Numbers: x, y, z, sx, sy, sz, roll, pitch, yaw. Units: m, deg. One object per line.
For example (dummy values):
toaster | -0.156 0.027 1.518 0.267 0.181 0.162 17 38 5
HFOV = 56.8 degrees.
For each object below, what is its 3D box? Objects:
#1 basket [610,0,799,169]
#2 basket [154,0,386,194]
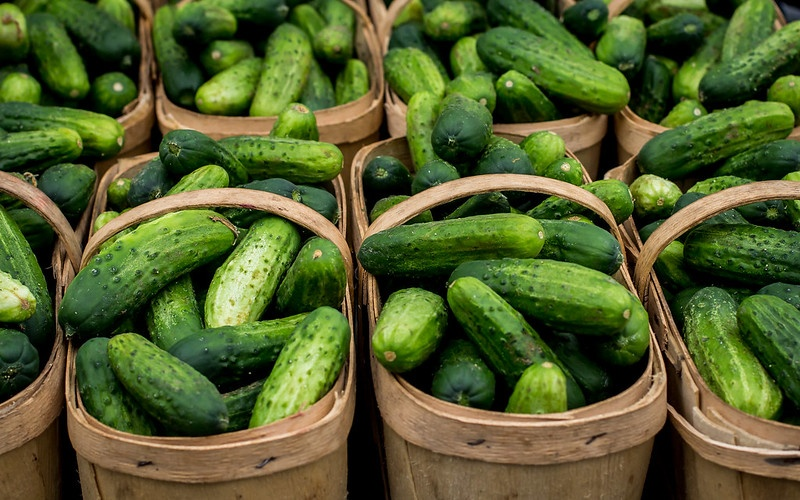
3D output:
basket | 2.099 -1.225 5.517 1.221 1.152 0.976 -18 48 25
basket | -0.878 -1.164 5.758 1.543 1.500 1.467 6 28 16
